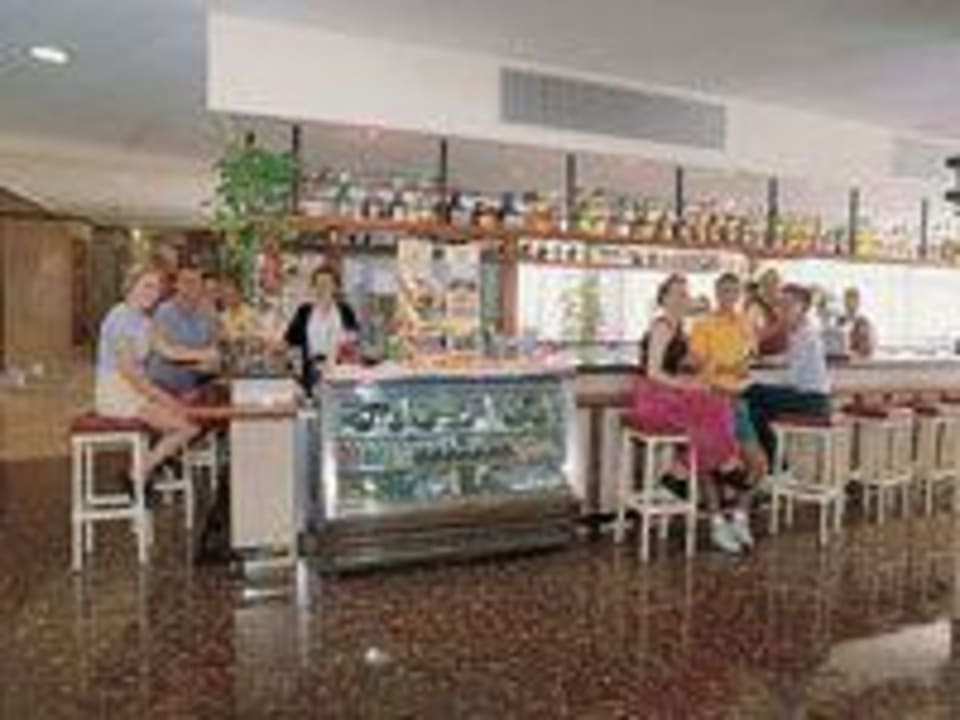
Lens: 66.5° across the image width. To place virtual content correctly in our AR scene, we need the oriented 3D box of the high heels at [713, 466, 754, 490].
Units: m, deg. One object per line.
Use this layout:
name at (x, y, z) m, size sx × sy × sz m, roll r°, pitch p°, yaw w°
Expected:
high heels at (1.927, 0.903, 5.635) m, size 0.287 × 0.095 × 0.145 m, roll 0°, pitch 17°, yaw 0°

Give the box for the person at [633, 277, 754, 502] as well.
person at (1.579, 0.288, 5.596) m, size 0.922 × 1.794 × 0.570 m, roll 9°, pitch 15°, yaw 30°

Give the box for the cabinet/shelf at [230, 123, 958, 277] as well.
cabinet/shelf at (2.056, -1.868, 8.850) m, size 9.623 × 1.256 × 4.217 m, roll -3°, pitch 13°, yaw -18°

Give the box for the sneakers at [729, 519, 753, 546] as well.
sneakers at (2.033, 1.336, 5.739) m, size 0.104 × 0.105 × 0.277 m, roll -1°, pitch 3°, yaw -9°

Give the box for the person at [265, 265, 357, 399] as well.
person at (-1.441, -0.029, 6.477) m, size 0.766 × 1.475 × 0.582 m, roll -7°, pitch 20°, yaw -23°

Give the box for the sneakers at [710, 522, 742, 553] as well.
sneakers at (1.883, 1.360, 5.613) m, size 0.195 × 0.176 × 0.250 m, roll 0°, pitch 13°, yaw -5°

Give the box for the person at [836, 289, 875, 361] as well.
person at (4.311, -0.453, 8.410) m, size 0.420 × 0.701 × 0.668 m, roll 7°, pitch 14°, yaw 24°

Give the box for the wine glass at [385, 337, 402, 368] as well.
wine glass at (-0.639, -0.069, 5.398) m, size 0.178 × 0.231 × 0.183 m, roll -1°, pitch -1°, yaw 1°

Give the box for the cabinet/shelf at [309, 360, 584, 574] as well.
cabinet/shelf at (-0.295, 0.753, 5.460) m, size 2.038 × 1.391 × 0.926 m, roll 0°, pitch 5°, yaw -28°
